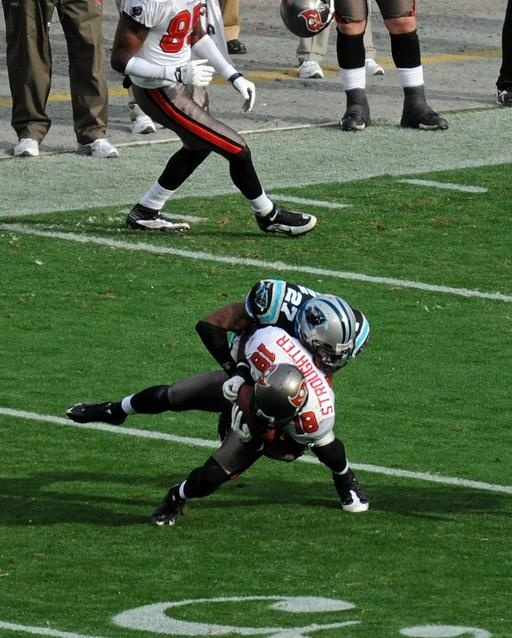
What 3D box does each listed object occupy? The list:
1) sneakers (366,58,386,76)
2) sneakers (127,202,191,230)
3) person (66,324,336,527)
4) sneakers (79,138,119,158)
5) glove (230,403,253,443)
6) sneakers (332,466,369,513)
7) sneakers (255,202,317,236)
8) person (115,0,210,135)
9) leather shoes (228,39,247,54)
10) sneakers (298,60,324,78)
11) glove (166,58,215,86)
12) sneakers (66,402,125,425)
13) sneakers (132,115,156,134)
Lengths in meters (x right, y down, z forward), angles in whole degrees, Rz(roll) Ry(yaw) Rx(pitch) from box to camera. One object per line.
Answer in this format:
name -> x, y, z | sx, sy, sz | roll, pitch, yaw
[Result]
sneakers -> 1.348, -2.860, 11.500 | 0.142, 0.105, 0.269 | -22, 51, -35
sneakers -> -0.596, -0.656, 6.619 | 0.529, 0.179, 0.132 | 2, 45, -12
person -> -0.184, 0.368, 3.516 | 1.048, 0.545, 1.185 | 0, 3, -20
sneakers -> -1.260, -1.399, 8.280 | 0.397, 0.118, 0.129 | 8, 35, 21
glove -> -0.055, 0.323, 3.169 | 0.050, 0.108, 0.112 | -12, 43, -9
sneakers -> 0.319, 0.597, 3.488 | 0.093, 0.082, 0.195 | -21, 61, -14
sneakers -> 0.188, -0.640, 6.479 | 0.504, 0.209, 0.123 | 1, 77, -1
person -> -0.997, -2.232, 9.155 | 0.878, 1.150, 0.467 | -6, 17, -23
leather shoes -> -0.241, -3.238, 12.050 | 0.196, 0.112, 0.290 | 2, 19, -6
sneakers -> 0.596, -2.765, 11.253 | 0.182, 0.110, 0.290 | -6, 18, -12
glove -> -0.393, -1.447, 6.005 | 0.272, 0.207, 0.208 | -2, 42, 0
sneakers -> -0.613, 0.367, 3.930 | 0.303, 0.103, 0.068 | 0, 73, 4
sneakers -> -0.995, -1.721, 8.978 | 0.140, 0.098, 0.250 | -9, 13, -20
